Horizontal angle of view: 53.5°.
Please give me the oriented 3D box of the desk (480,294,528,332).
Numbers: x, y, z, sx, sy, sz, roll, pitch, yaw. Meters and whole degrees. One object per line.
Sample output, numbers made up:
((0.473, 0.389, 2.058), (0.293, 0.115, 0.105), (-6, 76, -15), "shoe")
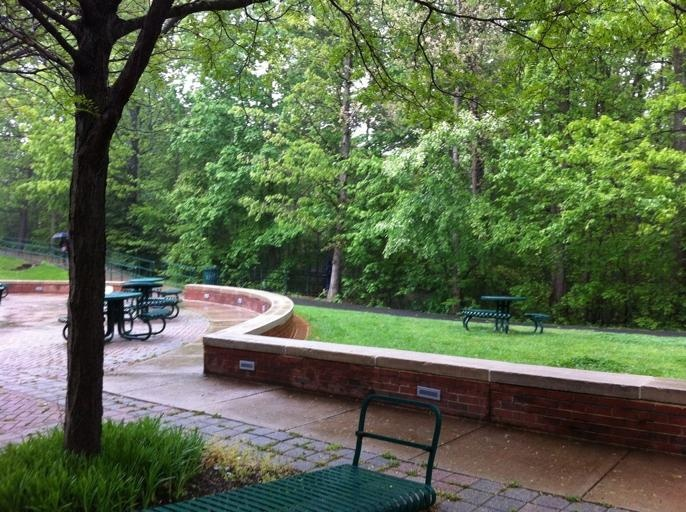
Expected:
((4.572, 1.569, 19.522), (1.222, 0.902, 1.230), (7, -2, -16), "desk")

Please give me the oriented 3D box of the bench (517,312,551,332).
((5.887, 2.035, 20.851), (0.605, 0.411, 0.570), (4, -11, -39), "bench")
